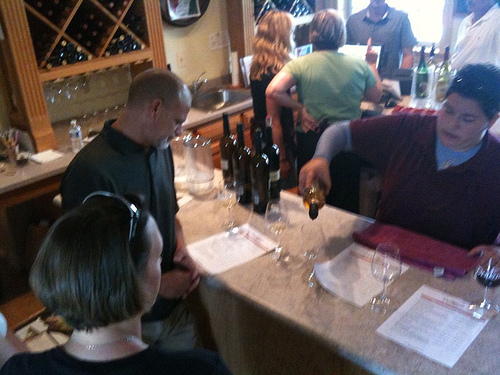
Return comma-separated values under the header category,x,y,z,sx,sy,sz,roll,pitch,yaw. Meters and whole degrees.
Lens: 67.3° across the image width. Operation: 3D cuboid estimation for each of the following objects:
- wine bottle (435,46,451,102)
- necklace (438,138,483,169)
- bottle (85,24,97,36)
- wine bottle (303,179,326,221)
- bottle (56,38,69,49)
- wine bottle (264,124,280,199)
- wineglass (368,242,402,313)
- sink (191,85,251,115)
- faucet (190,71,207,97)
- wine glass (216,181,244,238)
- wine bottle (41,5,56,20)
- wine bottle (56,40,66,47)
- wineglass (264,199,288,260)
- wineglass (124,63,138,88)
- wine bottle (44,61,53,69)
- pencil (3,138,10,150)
category,x,y,z,sx,sy,sz,roll,pitch,yaw
wine bottle,0.583,-0.339,1.126,0.035,0.173,0.084,12,30,23
necklace,0.696,-0.102,1.251,0.022,0.126,0.110,-13,30,-22
bottle,-1.109,-1.103,2.620,0.186,0.051,0.043,27,13,37
wine bottle,0.261,0.055,1.538,0.093,0.121,0.178,5,29,11
bottle,-1.220,-0.945,2.459,0.071,0.022,0.054,-30,52,17
wine bottle,0.086,-0.109,1.644,0.088,0.352,0.083,-5,11,1
wineglass,0.460,0.266,1.252,0.105,0.180,0.227,10,30,20
sink,-0.314,-0.763,3.550,0.428,0.172,0.343,-34,51,-31
faucet,-0.474,-0.968,3.477,0.157,0.213,0.360,-4,28,-6
wine glass,-0.117,0.108,1.784,0.114,0.264,0.112,2,-3,4
wine bottle,-1.293,-1.128,2.414,0.079,0.083,0.088,-9,29,-15
wine bottle,-1.225,-0.941,2.449,0.069,0.038,0.046,-20,34,-32
wineglass,0.106,0.156,1.474,0.088,0.173,0.180,0,28,3
wineglass,-1.001,-0.940,3.171,0.081,0.195,0.119,-24,36,-37
wine bottle,-1.308,-0.803,2.448,0.022,0.049,0.055,20,35,35
pencil,-1.543,-0.283,2.386,0.015,0.015,0.111,-31,68,7
